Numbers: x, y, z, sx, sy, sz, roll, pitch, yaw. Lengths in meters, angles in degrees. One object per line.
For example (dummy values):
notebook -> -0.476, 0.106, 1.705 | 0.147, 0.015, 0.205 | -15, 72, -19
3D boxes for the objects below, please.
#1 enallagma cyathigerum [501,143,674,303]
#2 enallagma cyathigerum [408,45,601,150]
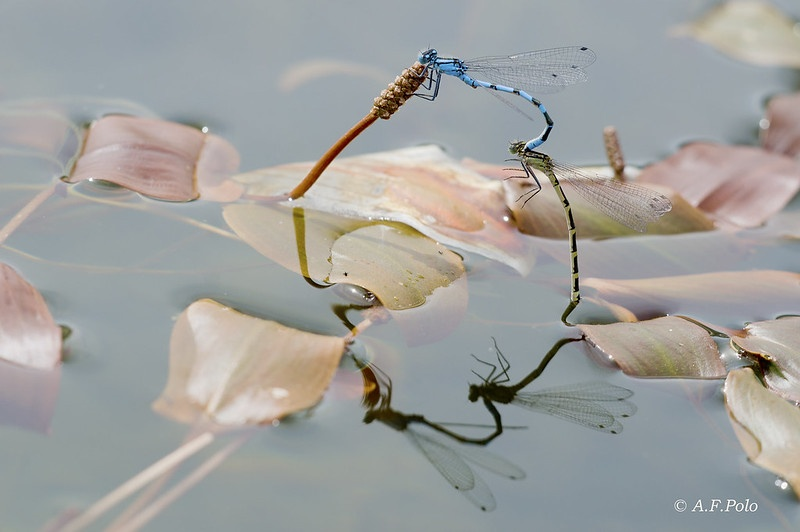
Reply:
enallagma cyathigerum -> 0.448, -0.132, 1.879 | 0.348, 0.179, 0.365 | -21, 87, 14
enallagma cyathigerum -> 0.252, -0.465, 2.020 | 0.419, 0.233, 0.204 | 14, 19, 13
